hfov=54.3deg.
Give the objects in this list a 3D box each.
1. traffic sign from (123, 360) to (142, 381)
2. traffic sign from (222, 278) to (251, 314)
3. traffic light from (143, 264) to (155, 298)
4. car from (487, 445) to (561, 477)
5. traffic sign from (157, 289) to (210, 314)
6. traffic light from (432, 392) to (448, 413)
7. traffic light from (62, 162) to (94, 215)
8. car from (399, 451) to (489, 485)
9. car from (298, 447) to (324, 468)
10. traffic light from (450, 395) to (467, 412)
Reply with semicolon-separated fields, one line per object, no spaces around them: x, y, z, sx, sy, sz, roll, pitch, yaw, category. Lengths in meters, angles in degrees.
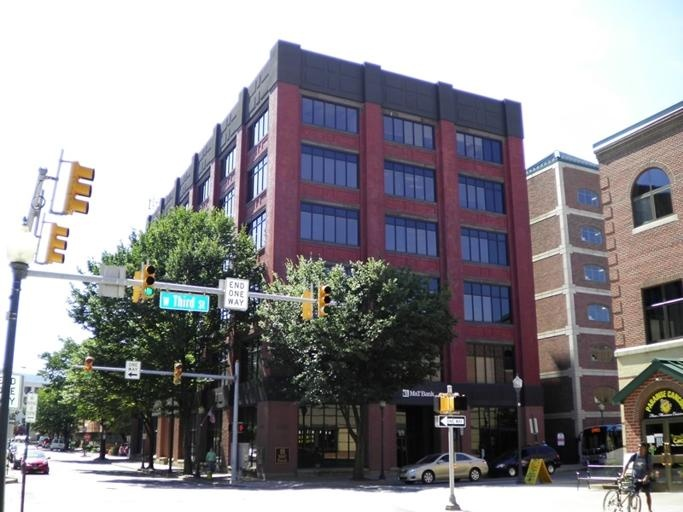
-12.763;6.932;40.854;0.872;1.114;1.711;6;-20;-19;traffic sign
-3.728;1.284;23.846;0.670;1.301;1.036;-12;-22;30;traffic sign
-6.313;0.775;21.894;0.400;1.249;1.026;5;-20;-16;traffic light
11.862;13.477;43.635;4.416;1.948;2.349;9;-21;-25;car
-5.702;1.641;24.158;1.634;0.958;1.426;6;-20;-19;traffic sign
3.861;5.701;25.593;0.406;0.706;1.044;1;-19;-4;traffic light
-7.210;-1.763;18.317;0.638;1.919;1.371;8;-20;-23;traffic light
5.992;12.486;39.030;4.962;1.730;1.688;11;-22;-29;car
-2.154;13.964;45.852;1.705;0.941;1.004;25;-32;-31;car
4.436;5.609;25.275;0.838;0.811;0.446;5;-11;-27;traffic light
